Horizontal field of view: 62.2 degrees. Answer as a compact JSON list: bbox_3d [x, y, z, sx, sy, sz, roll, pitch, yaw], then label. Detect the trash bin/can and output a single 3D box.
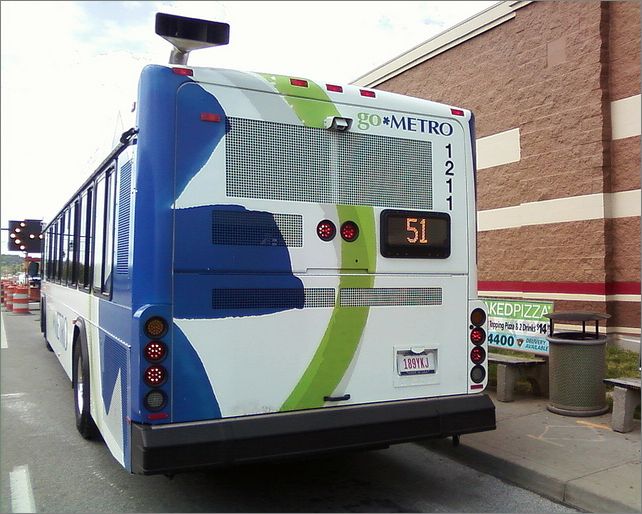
[{"bbox_3d":[3.435,1.391,7.182,0.772,1.348,0.811,0,3,27],"label":"trash bin/can"}]
